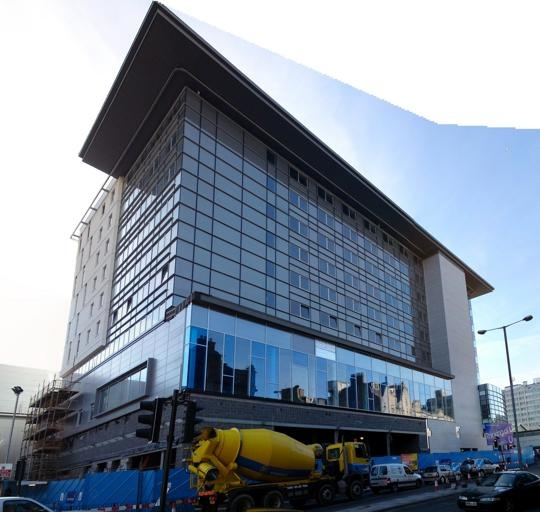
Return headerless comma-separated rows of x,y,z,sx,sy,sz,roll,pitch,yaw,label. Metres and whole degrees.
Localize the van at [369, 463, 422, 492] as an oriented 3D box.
7.752,13.784,27.343,3.636,1.550,1.947,16,-26,-42,van
